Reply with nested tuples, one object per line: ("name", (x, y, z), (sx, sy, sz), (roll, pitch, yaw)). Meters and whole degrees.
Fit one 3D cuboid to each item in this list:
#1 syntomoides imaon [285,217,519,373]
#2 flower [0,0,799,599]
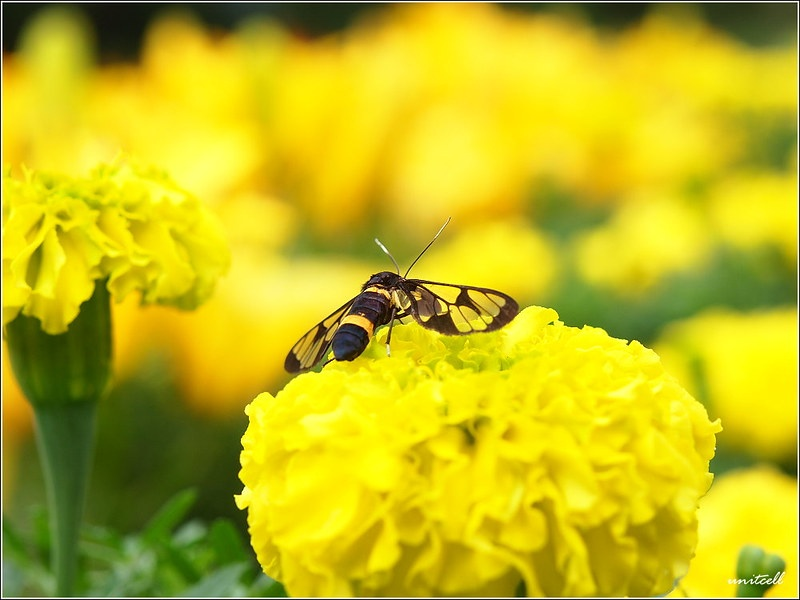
("syntomoides imaon", (0.004, 0.016, 0.897), (0.175, 0.090, 0.150), (-7, 14, 34))
("flower", (0.126, 0.075, 1.589), (0.873, 0.581, 0.942), (-1, 1, -1))
